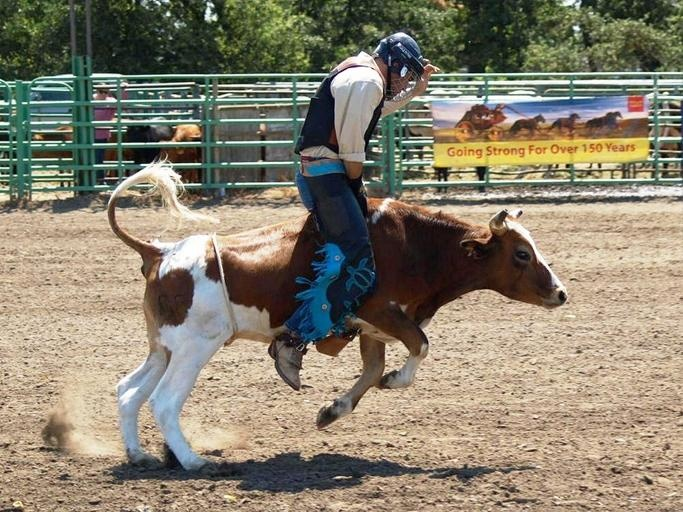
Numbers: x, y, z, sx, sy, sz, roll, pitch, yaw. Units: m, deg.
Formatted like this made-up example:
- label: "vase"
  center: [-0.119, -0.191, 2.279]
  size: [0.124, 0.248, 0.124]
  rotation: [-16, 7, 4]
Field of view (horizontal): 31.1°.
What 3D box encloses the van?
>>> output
- label: "van"
  center: [-4.741, -3.128, 23.334]
  size: [2.453, 0.751, 1.263]
  rotation: [-8, -3, -7]
